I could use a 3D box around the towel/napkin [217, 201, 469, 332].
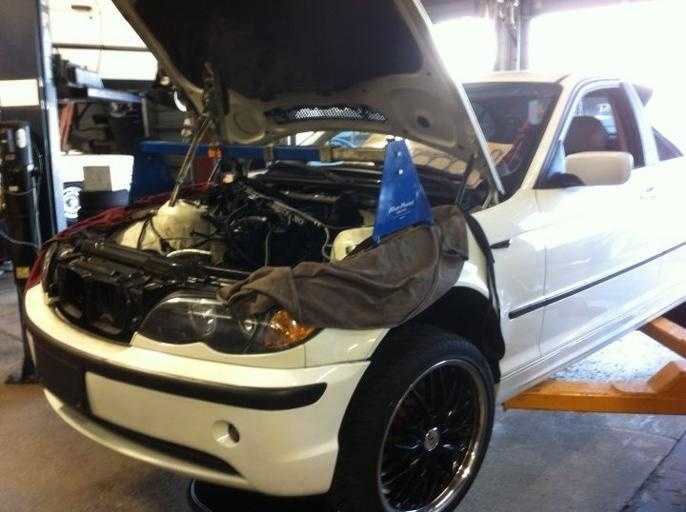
[{"bbox_3d":[0.075,0.087,2.263,1.011,0.371,0.309,-20,8,-12],"label":"towel/napkin"}]
